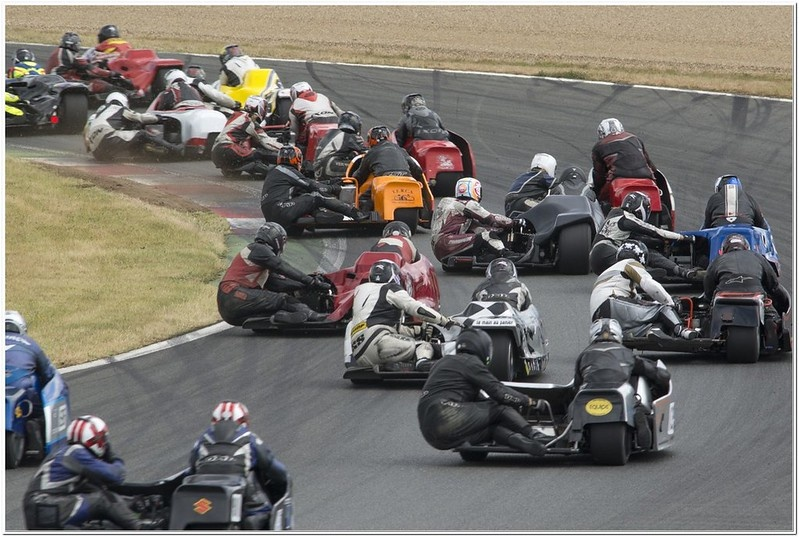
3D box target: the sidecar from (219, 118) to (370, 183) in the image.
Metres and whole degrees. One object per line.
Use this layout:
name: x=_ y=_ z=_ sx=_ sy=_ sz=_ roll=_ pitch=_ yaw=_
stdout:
sidecar: x=-3.464 y=-3.220 z=26.326 sx=3.471 sy=1.328 sz=2.134 roll=-1 pitch=9 yaw=-1

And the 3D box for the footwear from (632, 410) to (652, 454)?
footwear: x=3.100 y=2.036 z=12.382 sx=0.162 sy=0.423 sz=0.362 roll=0 pitch=0 yaw=2

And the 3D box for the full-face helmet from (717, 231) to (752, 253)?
full-face helmet: x=5.785 y=-0.426 z=16.607 sx=0.392 sy=0.391 sz=0.408 roll=1 pitch=-3 yaw=12

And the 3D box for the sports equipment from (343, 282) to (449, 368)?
sports equipment: x=-0.229 y=0.925 z=15.210 sx=1.425 sy=1.356 sz=1.722 roll=-2 pitch=6 yaw=-37

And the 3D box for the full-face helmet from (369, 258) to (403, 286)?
full-face helmet: x=-0.206 y=0.079 z=15.433 sx=0.510 sy=0.371 sz=0.615 roll=2 pitch=6 yaw=-3

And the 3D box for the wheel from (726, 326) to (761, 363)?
wheel: x=5.524 y=1.048 z=15.620 sx=0.538 sy=0.858 sz=0.936 roll=1 pitch=3 yaw=12

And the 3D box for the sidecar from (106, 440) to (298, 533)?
sidecar: x=-2.111 y=2.310 z=10.614 sx=1.907 sy=0.963 sz=1.060 roll=-1 pitch=0 yaw=-26

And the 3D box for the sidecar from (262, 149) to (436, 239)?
sidecar: x=-1.054 y=-1.638 z=21.982 sx=2.451 sy=1.442 sz=3.156 roll=0 pitch=7 yaw=-3

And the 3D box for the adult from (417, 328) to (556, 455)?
adult: x=1.111 y=1.549 z=12.689 sx=1.605 sy=1.388 sz=1.608 roll=-3 pitch=6 yaw=-26

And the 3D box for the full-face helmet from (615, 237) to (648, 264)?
full-face helmet: x=4.036 y=-0.294 z=16.719 sx=0.522 sy=0.415 sz=0.396 roll=9 pitch=7 yaw=-44

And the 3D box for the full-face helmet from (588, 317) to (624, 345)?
full-face helmet: x=2.776 y=0.828 z=13.023 sx=0.334 sy=0.373 sz=0.388 roll=0 pitch=2 yaw=8
